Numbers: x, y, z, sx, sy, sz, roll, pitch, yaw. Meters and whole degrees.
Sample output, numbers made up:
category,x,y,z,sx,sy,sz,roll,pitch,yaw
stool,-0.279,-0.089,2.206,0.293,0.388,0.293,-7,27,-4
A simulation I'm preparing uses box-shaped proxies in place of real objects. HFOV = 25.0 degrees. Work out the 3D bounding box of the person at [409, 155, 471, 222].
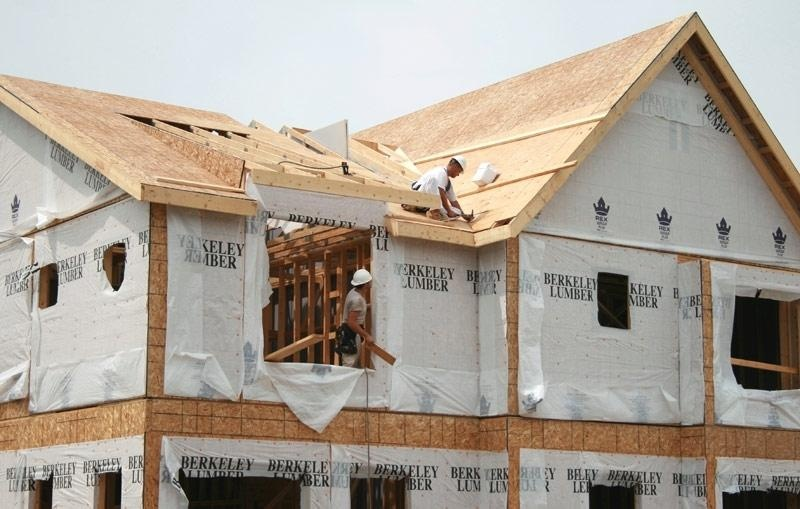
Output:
category,x,y,z,sx,sy,sz,roll,pitch,yaw
person,0.780,-1.399,34.601,1.259,1.422,0.802,10,-18,-38

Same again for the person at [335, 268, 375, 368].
category,x,y,z,sx,sy,sz,roll,pitch,yaw
person,-0.844,1.140,33.479,0.677,1.930,1.039,-1,-15,-2
